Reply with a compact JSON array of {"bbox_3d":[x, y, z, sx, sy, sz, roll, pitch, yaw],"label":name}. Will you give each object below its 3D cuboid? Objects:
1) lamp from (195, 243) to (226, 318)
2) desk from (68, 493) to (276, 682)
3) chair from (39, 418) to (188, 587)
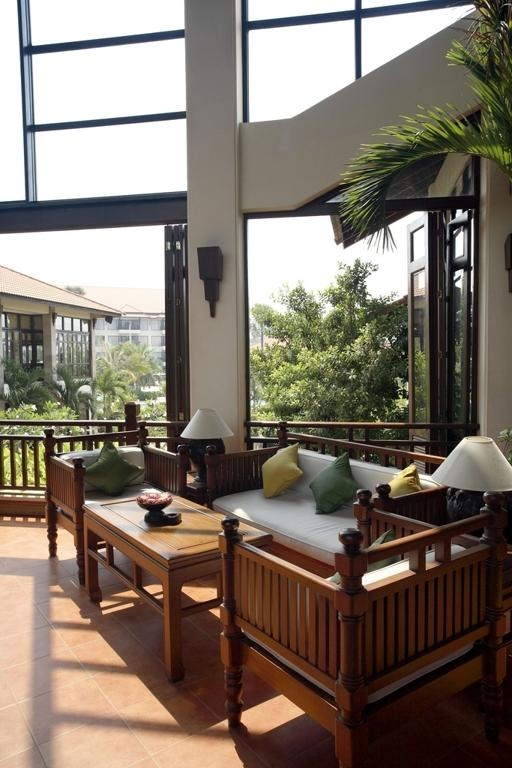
[{"bbox_3d":[-0.358,-0.817,4.757,0.206,0.555,0.132,-3,4,4],"label":"lamp"},{"bbox_3d":[-0.368,0.597,2.916,0.620,0.747,1.161,-6,9,-34],"label":"desk"},{"bbox_3d":[-1.021,0.713,3.966,0.719,1.037,0.721,-4,5,-38],"label":"chair"}]
